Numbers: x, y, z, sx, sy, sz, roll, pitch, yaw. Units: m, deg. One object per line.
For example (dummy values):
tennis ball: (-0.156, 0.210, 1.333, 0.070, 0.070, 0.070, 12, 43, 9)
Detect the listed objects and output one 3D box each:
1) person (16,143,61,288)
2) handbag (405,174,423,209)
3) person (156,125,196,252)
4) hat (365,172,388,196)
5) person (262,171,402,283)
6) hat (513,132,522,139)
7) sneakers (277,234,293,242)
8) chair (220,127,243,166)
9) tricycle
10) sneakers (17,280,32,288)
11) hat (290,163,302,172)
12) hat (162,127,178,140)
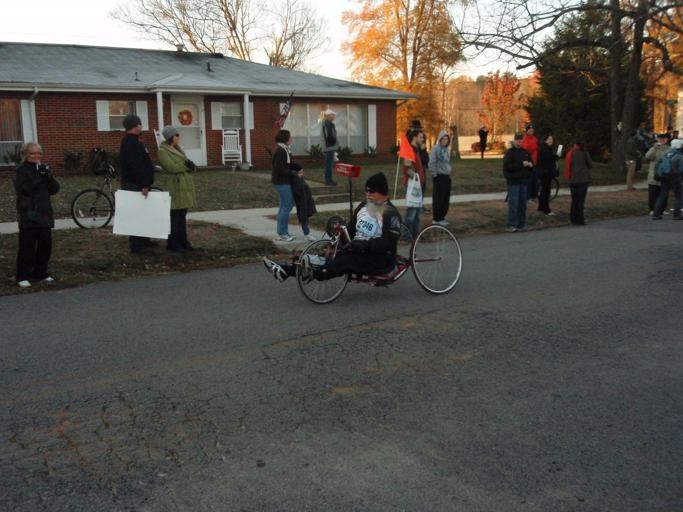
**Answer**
person: (-4.631, -0.621, 8.789, 0.706, 2.094, 0.586, -6, 13, -21)
handbag: (1.455, -1.280, 11.477, 0.262, 0.659, 0.640, -3, 9, -6)
person: (-2.993, -1.219, 10.711, 0.625, 2.278, 0.605, -5, 13, -17)
hat: (0.443, -0.938, 7.671, 0.318, 0.318, 0.244, -2, 13, -38)
person: (0.301, -0.338, 7.632, 1.004, 1.437, 0.531, -2, 12, -4)
hat: (4.077, -2.751, 13.385, 0.227, 0.172, 0.235, 7, 16, 25)
sneakers: (-1.151, -0.368, 11.966, 0.344, 0.169, 0.142, -1, 8, -5)
chair: (-5.057, -5.042, 27.033, 1.037, 1.611, 0.819, -6, 14, -23)
tricycle: (0.516, 0.015, 8.121, 2.090, 0.930, 1.212, -3, 6, -39)
sneakers: (-4.762, 0.422, 8.720, 0.197, 0.092, 0.152, -5, 14, -16)
hat: (-0.912, -1.755, 11.653, 0.213, 0.175, 0.215, -2, 13, -4)
hat: (-3.094, -2.236, 10.495, 0.272, 0.159, 0.205, -35, 52, -2)
